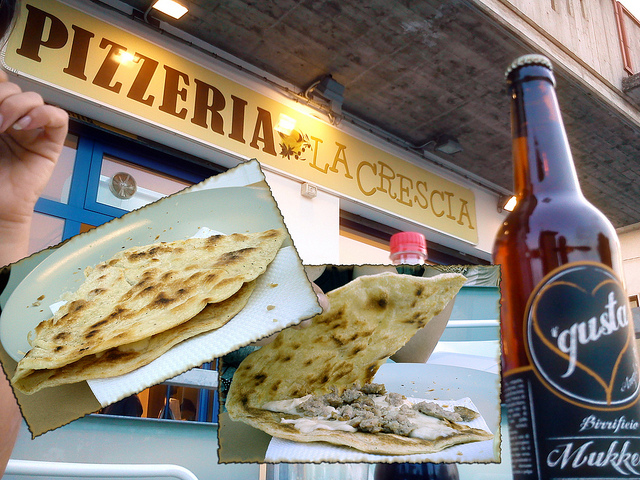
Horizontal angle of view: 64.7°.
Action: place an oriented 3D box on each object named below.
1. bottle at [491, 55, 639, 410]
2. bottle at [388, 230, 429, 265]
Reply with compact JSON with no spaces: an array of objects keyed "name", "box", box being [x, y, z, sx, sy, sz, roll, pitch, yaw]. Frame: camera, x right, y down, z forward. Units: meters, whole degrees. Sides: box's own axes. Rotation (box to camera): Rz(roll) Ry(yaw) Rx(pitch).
[{"name":"bottle","box":[0.359,-0.042,0.779,0.192,0.579,0.154,-5,-22,17]},{"name":"bottle","box":[0.141,0.014,0.806,0.056,0.071,0.055,0,-12,0]}]
